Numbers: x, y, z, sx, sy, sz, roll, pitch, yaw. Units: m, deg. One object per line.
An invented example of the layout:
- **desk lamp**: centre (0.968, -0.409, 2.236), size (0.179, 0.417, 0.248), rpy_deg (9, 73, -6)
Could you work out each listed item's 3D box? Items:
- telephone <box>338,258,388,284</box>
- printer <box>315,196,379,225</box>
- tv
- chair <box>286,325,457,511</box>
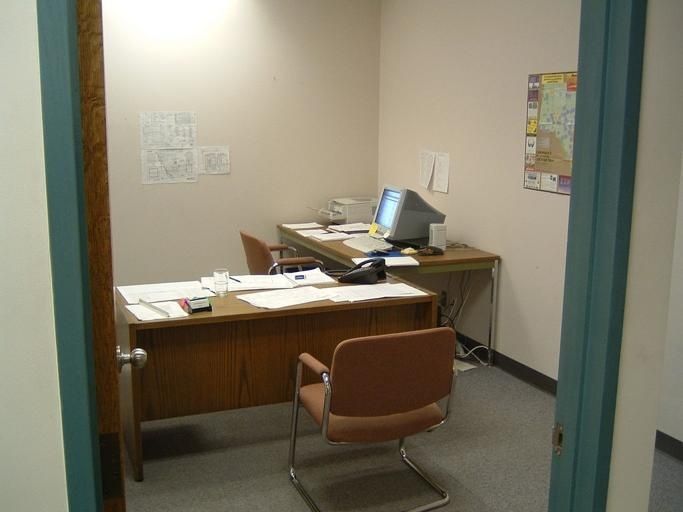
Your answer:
- **telephone**: centre (0.140, 0.106, 3.335), size (0.212, 0.106, 0.169), rpy_deg (-6, 8, 9)
- **printer**: centre (0.081, -0.439, 5.111), size (0.401, 0.157, 0.297), rpy_deg (-3, 10, -18)
- **tv**: centre (0.562, -0.345, 4.426), size (0.644, 0.389, 0.652), rpy_deg (17, 13, 35)
- **chair**: centre (0.134, 0.745, 2.443), size (0.771, 0.929, 0.401), rpy_deg (0, 12, -1)
